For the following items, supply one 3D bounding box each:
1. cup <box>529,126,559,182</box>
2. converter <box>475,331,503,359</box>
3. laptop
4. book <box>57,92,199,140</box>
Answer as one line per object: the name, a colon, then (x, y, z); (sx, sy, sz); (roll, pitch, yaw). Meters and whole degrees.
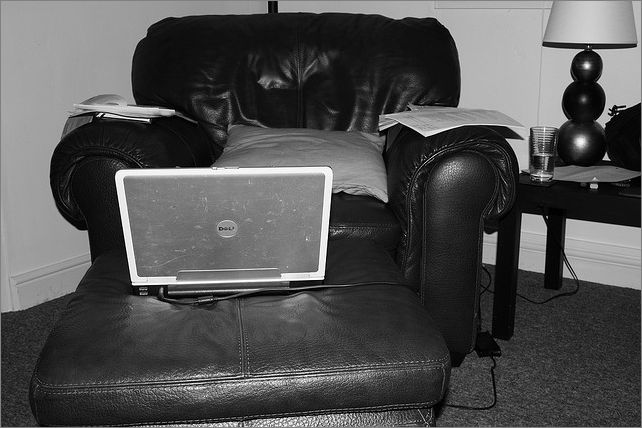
cup: (0.824, -0.234, 2.123); (0.101, 0.181, 0.198); (8, 24, 21)
converter: (0.638, 0.507, 2.178); (0.085, 0.034, 0.140); (-4, 15, 5)
laptop: (-0.270, 0.037, 1.530); (0.545, 0.353, 0.369); (0, 23, -3)
book: (-0.736, -0.366, 2.035); (0.277, 0.103, 0.245); (9, 10, 6)
